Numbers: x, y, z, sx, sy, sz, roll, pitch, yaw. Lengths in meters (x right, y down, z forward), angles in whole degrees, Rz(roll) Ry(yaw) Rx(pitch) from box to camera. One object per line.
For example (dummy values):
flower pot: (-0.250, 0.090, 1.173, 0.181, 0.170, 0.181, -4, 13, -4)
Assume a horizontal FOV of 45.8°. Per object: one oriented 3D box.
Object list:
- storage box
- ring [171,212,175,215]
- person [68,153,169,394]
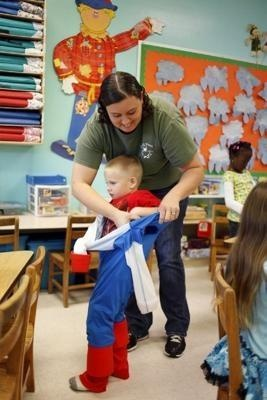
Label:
storage box: (-0.782, 0.006, 2.949, 0.307, 0.261, 0.315, 1, -1, 0)
ring: (0.145, 0.049, 1.161, 0.013, 0.008, 0.008, -2, 25, -6)
person: (-0.083, 0.350, 1.354, 0.333, 1.075, 0.429, 2, 1, -16)
